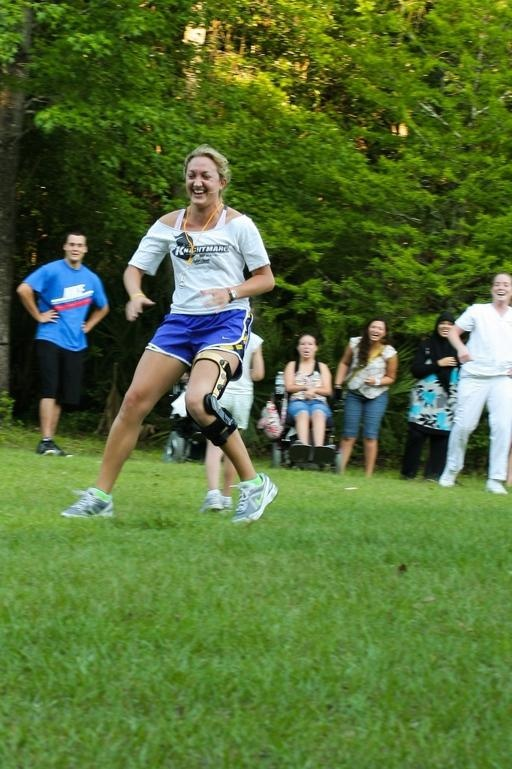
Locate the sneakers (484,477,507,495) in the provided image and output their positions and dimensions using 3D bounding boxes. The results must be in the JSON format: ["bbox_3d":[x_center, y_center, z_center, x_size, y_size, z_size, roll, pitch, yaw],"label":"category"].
[{"bbox_3d":[2.021,0.850,6.178,0.185,0.109,0.306,2,-4,-4],"label":"sneakers"}]

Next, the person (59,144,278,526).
[{"bbox_3d":[-0.291,-0.216,3.327,0.853,1.275,0.538,8,3,13],"label":"person"}]

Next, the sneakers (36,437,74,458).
[{"bbox_3d":[-1.891,0.582,6.791,0.505,0.186,0.155,3,4,-21],"label":"sneakers"}]

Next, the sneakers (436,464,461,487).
[{"bbox_3d":[1.733,0.817,6.666,0.211,0.220,0.371,3,-4,21],"label":"sneakers"}]

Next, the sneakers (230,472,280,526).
[{"bbox_3d":[-0.032,0.510,3.453,0.119,0.308,0.155,-13,-58,47],"label":"sneakers"}]

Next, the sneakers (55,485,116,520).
[{"bbox_3d":[-0.745,0.537,3.301,0.284,0.107,0.098,4,1,-42],"label":"sneakers"}]
